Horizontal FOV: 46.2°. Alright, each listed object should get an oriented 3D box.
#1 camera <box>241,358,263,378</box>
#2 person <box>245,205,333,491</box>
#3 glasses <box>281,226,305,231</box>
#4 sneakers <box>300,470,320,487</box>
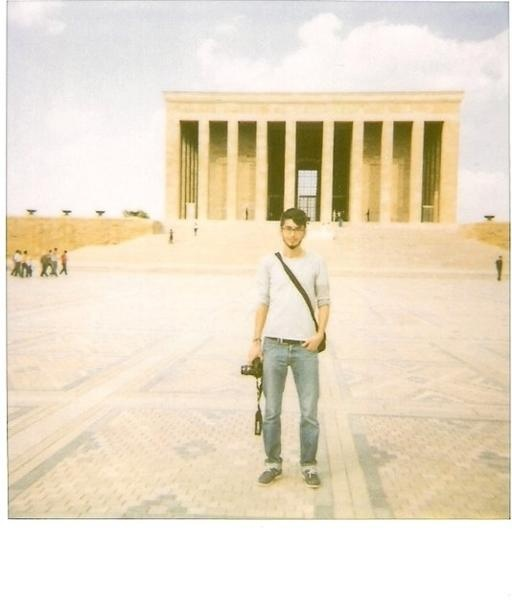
[{"bbox_3d":[-0.031,0.406,3.782,0.113,0.161,0.098,-2,-19,6],"label":"camera"},{"bbox_3d":[0.198,0.241,3.668,0.489,1.660,0.319,0,4,2],"label":"person"},{"bbox_3d":[0.217,-0.466,3.601,0.139,0.032,0.045,2,6,9],"label":"glasses"},{"bbox_3d":[0.332,1.034,3.624,0.113,0.096,0.117,2,6,14],"label":"sneakers"}]
